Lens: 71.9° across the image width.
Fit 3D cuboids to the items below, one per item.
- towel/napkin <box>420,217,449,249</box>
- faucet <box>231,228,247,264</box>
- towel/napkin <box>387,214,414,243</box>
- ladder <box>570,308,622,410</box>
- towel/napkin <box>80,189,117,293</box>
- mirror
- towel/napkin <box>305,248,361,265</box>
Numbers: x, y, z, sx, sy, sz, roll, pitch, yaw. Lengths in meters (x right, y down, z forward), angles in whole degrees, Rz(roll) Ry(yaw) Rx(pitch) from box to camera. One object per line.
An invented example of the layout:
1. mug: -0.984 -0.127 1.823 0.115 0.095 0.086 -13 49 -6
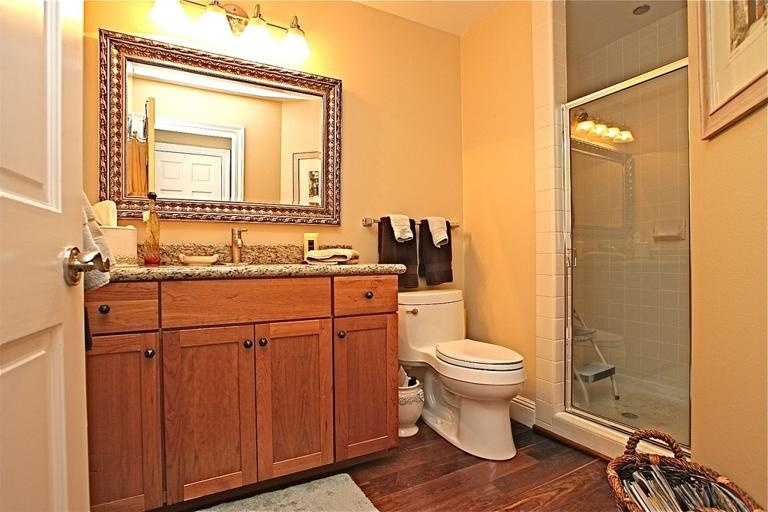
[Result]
1. towel/napkin: 0.355 -0.153 3.362 0.185 0.184 0.118 -8 15 -30
2. faucet: -0.819 -0.063 2.943 0.082 0.185 0.160 0 13 -1
3. towel/napkin: 0.108 -0.175 3.226 0.153 0.161 0.056 3 -24 -23
4. ladder: 1.170 0.579 2.963 0.127 0.504 0.339 -5 14 -19
5. towel/napkin: -1.083 -0.024 1.994 0.105 0.389 0.501 -7 14 -27
6. mirror: -0.960 -0.713 2.924 1.386 0.899 0.060 1 -2 -26
7. towel/napkin: -0.279 0.003 2.809 0.272 0.082 0.093 -2 13 -8
